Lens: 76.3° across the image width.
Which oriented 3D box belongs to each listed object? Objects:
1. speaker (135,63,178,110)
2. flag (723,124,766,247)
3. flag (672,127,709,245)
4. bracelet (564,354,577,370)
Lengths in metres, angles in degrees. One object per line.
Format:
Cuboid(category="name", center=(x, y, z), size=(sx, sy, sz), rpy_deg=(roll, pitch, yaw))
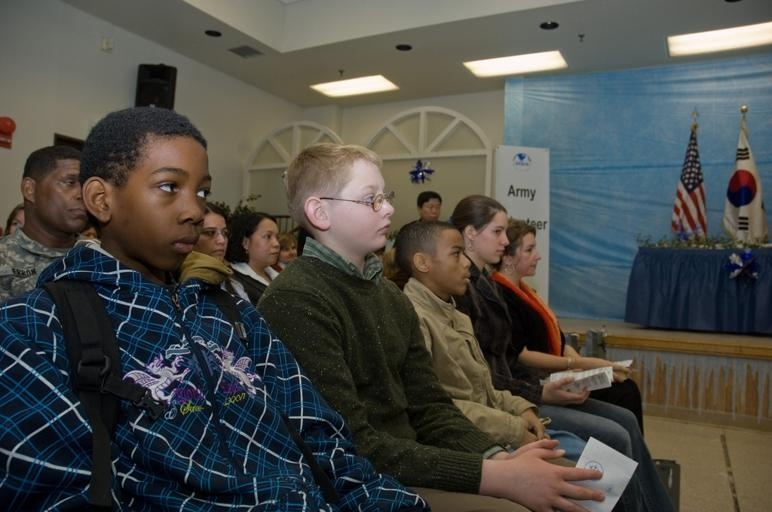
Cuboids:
Cuboid(category="speaker", center=(-3.235, -2.380, 6.835), size=(0.636, 0.670, 0.282), rpy_deg=(2, 4, 16))
Cuboid(category="flag", center=(4.692, -0.956, 6.353), size=(0.503, 1.498, 0.492), rpy_deg=(-2, 5, -30))
Cuboid(category="flag", center=(4.127, -1.044, 6.661), size=(0.399, 1.581, 0.770), rpy_deg=(3, 5, 34))
Cuboid(category="bracelet", center=(1.204, 0.687, 3.210), size=(0.078, 0.063, 0.084), rpy_deg=(0, 2, 9))
